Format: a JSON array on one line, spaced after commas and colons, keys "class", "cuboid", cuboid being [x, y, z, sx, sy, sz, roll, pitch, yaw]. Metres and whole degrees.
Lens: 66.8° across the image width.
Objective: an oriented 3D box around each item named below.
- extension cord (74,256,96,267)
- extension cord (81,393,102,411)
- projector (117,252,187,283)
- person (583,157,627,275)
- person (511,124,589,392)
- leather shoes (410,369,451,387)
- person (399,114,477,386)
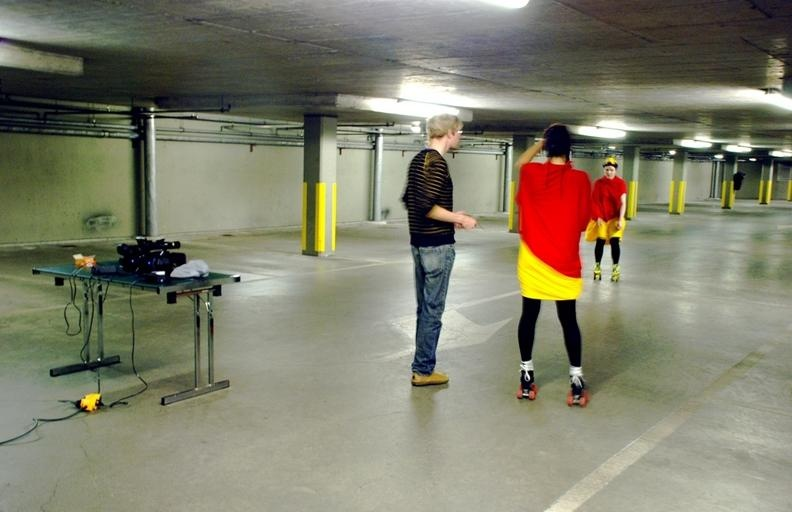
[{"class": "extension cord", "cuboid": [-3.066, 0.058, 5.900, 0.186, 0.074, 0.226, -4, 4, -34]}, {"class": "extension cord", "cuboid": [-2.756, 1.311, 5.434, 0.182, 0.121, 0.180, 12, 17, 40]}, {"class": "projector", "cuboid": [-2.335, 0.113, 5.713, 0.590, 0.206, 0.303, 0, 7, -7]}, {"class": "person", "cuboid": [3.816, -0.645, 10.875, 0.794, 2.062, 0.898, -3, 6, -39]}, {"class": "person", "cuboid": [1.486, 0.068, 5.676, 0.766, 2.576, 0.802, 3, 16, 7]}, {"class": "leather shoes", "cuboid": [0.329, 1.229, 6.068, 0.419, 0.122, 0.131, -2, 2, -20]}, {"class": "person", "cuboid": [0.428, -0.066, 6.068, 1.023, 2.619, 1.038, -1, 5, -10]}]
